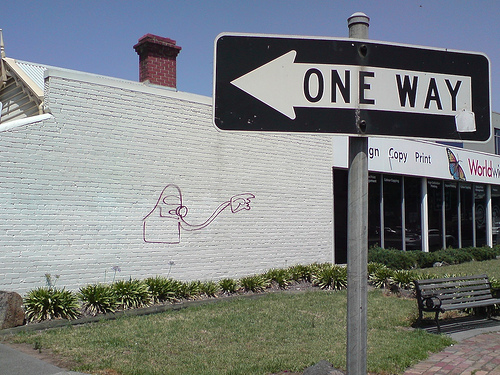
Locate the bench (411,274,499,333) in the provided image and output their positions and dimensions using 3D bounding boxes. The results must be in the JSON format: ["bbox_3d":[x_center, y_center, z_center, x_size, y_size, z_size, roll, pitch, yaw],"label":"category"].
[{"bbox_3d":[4.343,2.351,10.270,2.172,1.168,0.968,0,0,-37],"label":"bench"}]
